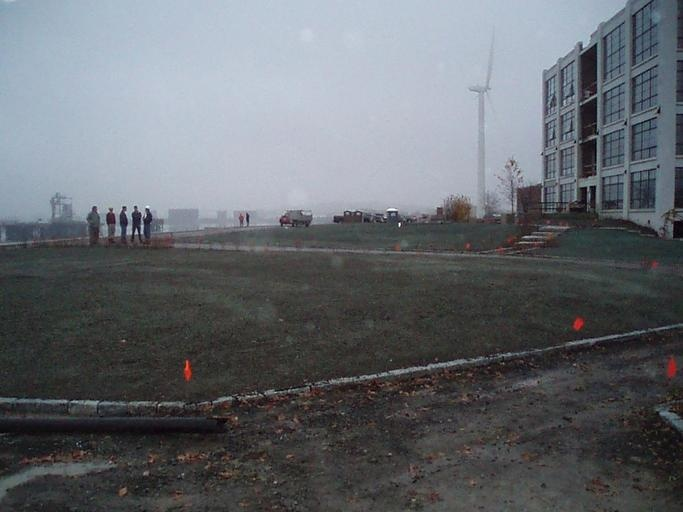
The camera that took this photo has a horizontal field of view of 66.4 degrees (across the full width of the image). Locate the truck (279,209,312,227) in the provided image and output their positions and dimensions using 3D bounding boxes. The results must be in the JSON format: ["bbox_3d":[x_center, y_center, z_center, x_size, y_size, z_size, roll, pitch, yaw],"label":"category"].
[{"bbox_3d":[-5.414,-4.459,61.483,2.297,1.728,4.700,1,5,29],"label":"truck"}]
